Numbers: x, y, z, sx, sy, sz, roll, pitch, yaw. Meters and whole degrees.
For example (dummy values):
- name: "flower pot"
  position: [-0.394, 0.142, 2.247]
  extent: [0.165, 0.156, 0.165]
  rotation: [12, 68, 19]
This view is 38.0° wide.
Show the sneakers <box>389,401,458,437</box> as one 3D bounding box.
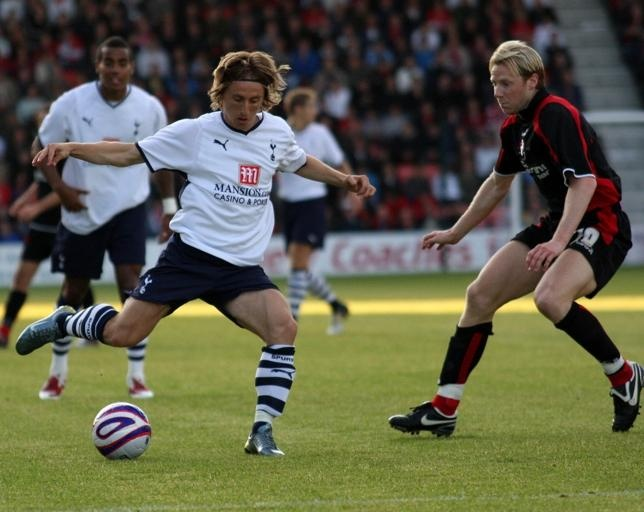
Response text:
- name: "sneakers"
  position: [0.689, 1.094, 6.324]
  extent: [0.531, 0.253, 0.190]
  rotation: [6, -10, 1]

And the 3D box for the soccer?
- name: "soccer"
  position: [-1.274, 1.116, 5.954]
  extent: [0.408, 0.398, 0.396]
  rotation: [-3, -8, 17]

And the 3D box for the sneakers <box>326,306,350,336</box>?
- name: "sneakers"
  position: [0.199, 0.778, 11.288]
  extent: [0.096, 0.281, 0.200]
  rotation: [18, -2, 27]

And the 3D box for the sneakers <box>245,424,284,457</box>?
- name: "sneakers"
  position: [-0.354, 1.153, 5.809]
  extent: [0.246, 0.205, 0.197]
  rotation: [5, 14, -5]
